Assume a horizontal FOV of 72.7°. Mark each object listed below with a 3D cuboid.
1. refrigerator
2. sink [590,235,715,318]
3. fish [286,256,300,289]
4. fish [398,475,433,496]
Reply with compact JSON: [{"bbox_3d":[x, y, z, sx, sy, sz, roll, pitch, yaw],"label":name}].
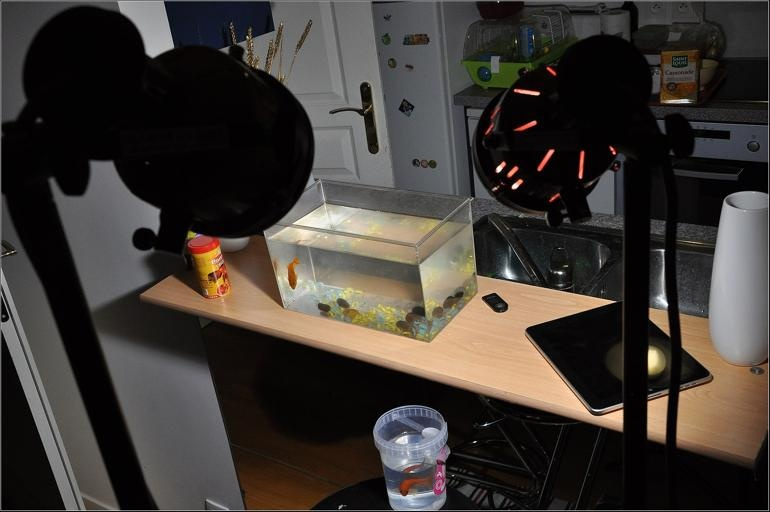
[{"bbox_3d":[0.287,-1.086,3.721,0.639,1.344,0.296,-1,21,10],"label":"refrigerator"},{"bbox_3d":[0.965,0.077,1.908,0.498,0.250,0.328,11,2,27],"label":"sink"},{"bbox_3d":[-0.267,0.049,1.513,0.043,0.095,0.022,-5,12,-45],"label":"fish"},{"bbox_3d":[0.081,0.612,1.395,0.117,0.041,0.034,-10,45,20],"label":"fish"}]
